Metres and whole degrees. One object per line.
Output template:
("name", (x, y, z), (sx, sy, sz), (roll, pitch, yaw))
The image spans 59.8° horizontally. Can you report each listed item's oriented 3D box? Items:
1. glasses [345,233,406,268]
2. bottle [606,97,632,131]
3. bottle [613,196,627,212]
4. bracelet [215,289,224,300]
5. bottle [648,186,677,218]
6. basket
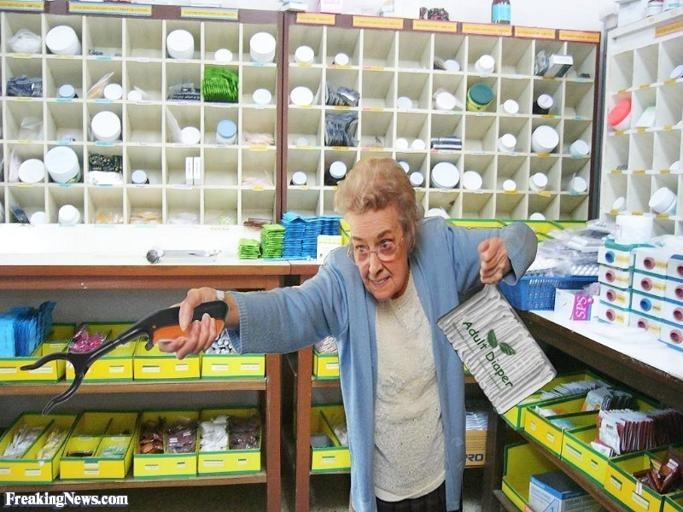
("glasses", (0.136, -0.022, 2.201), (0.186, 0.103, 0.078), (-2, 6, 8))
("bottle", (1.664, -0.855, 3.562), (0.128, 0.188, 0.125), (-2, 6, 0))
("bottle", (1.655, -0.308, 3.542), (0.049, 0.083, 0.077), (14, -9, -26))
("bracelet", (-0.414, 0.135, 2.039), (0.023, 0.033, 0.010), (15, -26, -33))
("bottle", (1.792, -0.306, 3.314), (0.133, 0.154, 0.163), (1, 7, 30))
("basket", (1.042, 0.170, 3.058), (0.355, 0.135, 0.311), (0, 1, -7))
